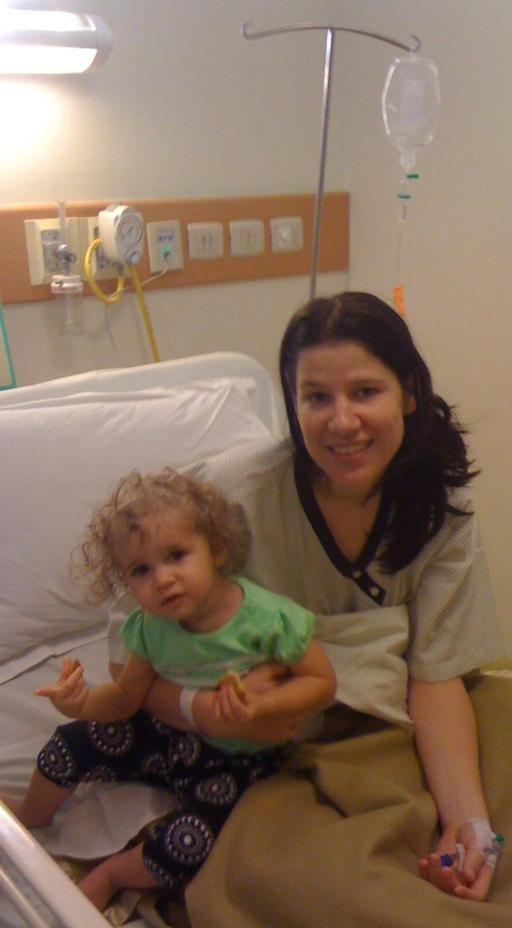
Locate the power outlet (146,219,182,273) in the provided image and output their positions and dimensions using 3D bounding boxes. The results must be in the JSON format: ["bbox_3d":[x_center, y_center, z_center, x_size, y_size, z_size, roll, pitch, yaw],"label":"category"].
[{"bbox_3d":[-0.171,-0.404,1.242,0.079,0.101,0.011,-19,32,-29],"label":"power outlet"}]

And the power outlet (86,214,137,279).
[{"bbox_3d":[-0.250,-0.379,1.164,0.046,0.087,0.061,24,42,25],"label":"power outlet"}]

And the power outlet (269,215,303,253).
[{"bbox_3d":[0.060,-0.469,1.392,0.090,0.081,0.014,4,10,-43],"label":"power outlet"}]

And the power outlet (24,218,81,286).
[{"bbox_3d":[-0.340,-0.352,1.122,0.011,0.105,0.096,20,31,40],"label":"power outlet"}]

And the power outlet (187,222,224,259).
[{"bbox_3d":[-0.100,-0.427,1.287,0.064,0.065,0.007,-19,30,-34],"label":"power outlet"}]
